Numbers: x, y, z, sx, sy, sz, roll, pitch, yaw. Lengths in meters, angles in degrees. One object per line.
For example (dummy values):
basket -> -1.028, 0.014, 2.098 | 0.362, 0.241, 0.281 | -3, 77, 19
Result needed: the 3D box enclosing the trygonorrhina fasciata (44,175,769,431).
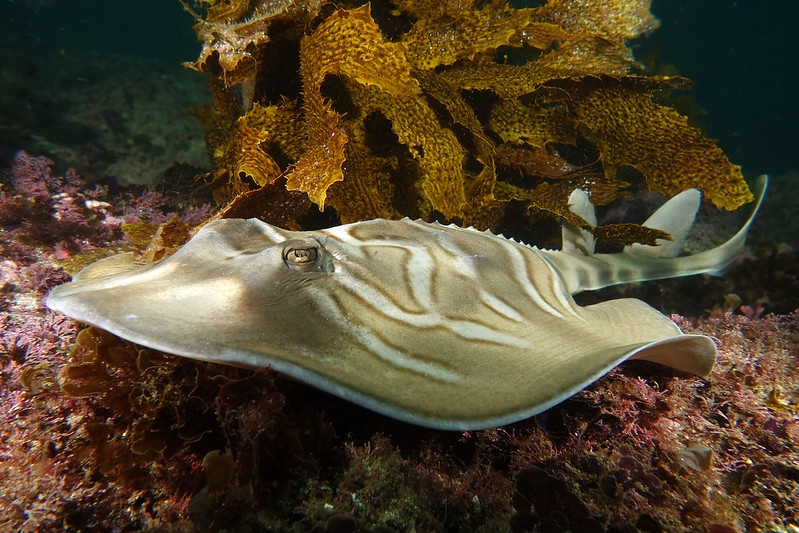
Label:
trygonorrhina fasciata -> 0.620, 0.007, 8.125 | 7.265, 4.401, 0.938 | -4, -71, -25
